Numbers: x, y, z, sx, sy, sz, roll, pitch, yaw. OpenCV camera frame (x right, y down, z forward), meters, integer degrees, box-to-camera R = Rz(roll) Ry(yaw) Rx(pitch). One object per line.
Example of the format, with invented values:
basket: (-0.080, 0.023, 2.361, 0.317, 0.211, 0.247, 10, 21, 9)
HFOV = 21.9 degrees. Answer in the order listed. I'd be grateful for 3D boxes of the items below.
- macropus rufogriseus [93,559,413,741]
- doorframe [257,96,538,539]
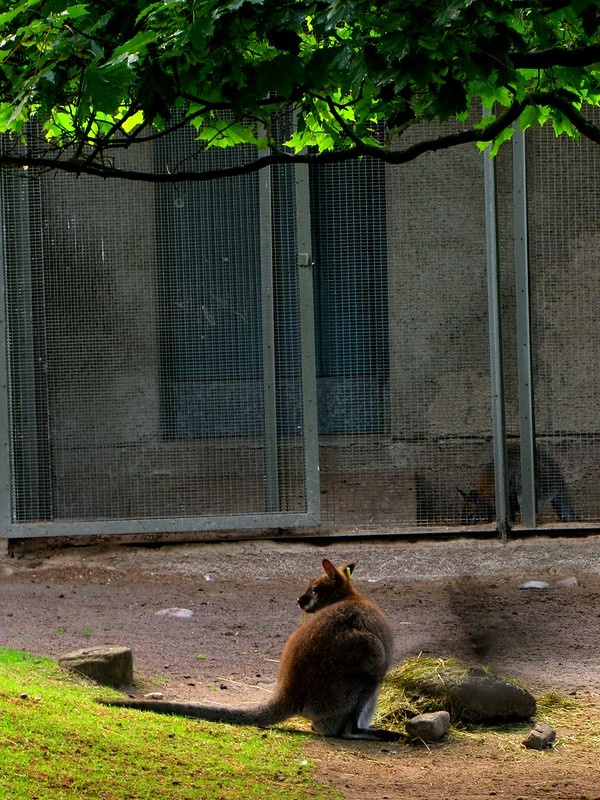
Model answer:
macropus rufogriseus: (-0.297, 1.194, 7.233, 1.510, 0.774, 0.495, -3, 1, -4)
doorframe: (0.703, -0.901, 10.714, 1.956, 0.063, 3.423, -9, 40, 13)
